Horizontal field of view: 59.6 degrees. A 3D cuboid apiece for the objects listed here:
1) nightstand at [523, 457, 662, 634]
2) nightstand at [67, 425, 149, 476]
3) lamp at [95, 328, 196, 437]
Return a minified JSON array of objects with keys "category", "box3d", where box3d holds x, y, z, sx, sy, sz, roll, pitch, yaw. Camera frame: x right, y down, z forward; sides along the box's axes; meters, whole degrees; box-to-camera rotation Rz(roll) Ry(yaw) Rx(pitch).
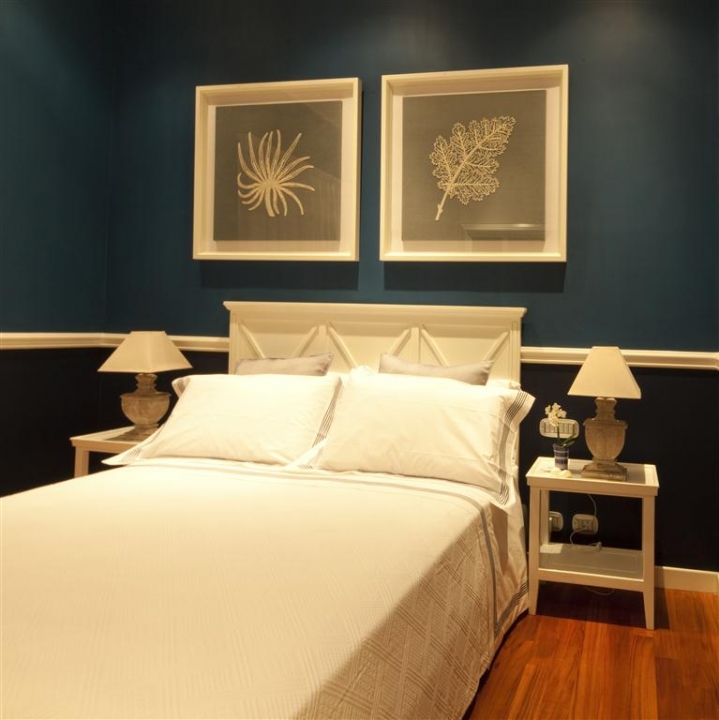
[{"category":"nightstand","box3d":[1.025,0.781,2.876,0.614,0.896,0.565,0,3,18]},{"category":"nightstand","box3d":[-1.307,0.397,3.274,0.278,0.371,0.316,-1,-1,25]},{"category":"lamp","box3d":[-1.121,0.138,3.523,0.419,0.826,0.485,0,-3,20]}]
